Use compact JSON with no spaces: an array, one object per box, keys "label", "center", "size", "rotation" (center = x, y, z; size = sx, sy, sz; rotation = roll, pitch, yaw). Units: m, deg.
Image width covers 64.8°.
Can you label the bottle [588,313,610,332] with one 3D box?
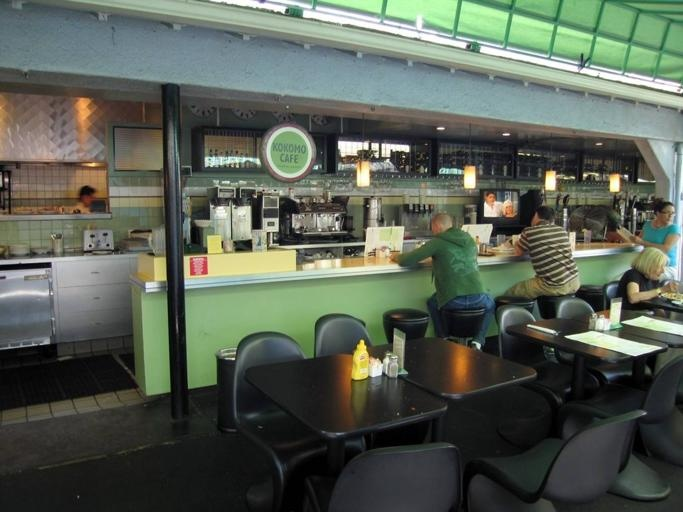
[{"label":"bottle","center":[2.300,0.598,4.816],"size":[0.185,0.188,0.121],"rotation":[-2,4,15]}]

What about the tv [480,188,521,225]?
[{"label":"tv","center":[3.399,-1.083,11.704],"size":[0.997,0.823,0.502],"rotation":[-2,5,-21]}]

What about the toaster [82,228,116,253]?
[{"label":"toaster","center":[-3.496,-0.219,7.735],"size":[0.350,0.268,0.356],"rotation":[-1,2,-28]}]

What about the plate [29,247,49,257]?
[{"label":"plate","center":[-4.213,-0.059,7.510],"size":[0.247,0.086,0.243],"rotation":[0,5,-28]}]

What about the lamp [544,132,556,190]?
[{"label":"lamp","center":[3.577,-1.484,9.249],"size":[0.177,0.705,0.180],"rotation":[-5,12,-7]}]

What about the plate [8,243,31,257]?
[{"label":"plate","center":[-4.362,-0.080,7.259],"size":[0.188,0.136,0.191],"rotation":[7,6,32]}]

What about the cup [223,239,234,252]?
[{"label":"cup","center":[-1.188,-0.099,5.680],"size":[0.119,0.130,0.117],"rotation":[1,1,0]}]

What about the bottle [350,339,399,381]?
[{"label":"bottle","center":[0.241,0.783,4.014],"size":[0.277,0.225,0.108],"rotation":[-2,7,-21]}]

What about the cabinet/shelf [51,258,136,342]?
[{"label":"cabinet/shelf","center":[-3.537,0.583,7.493],"size":[0.696,1.120,1.200],"rotation":[-6,-4,43]}]

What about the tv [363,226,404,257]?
[{"label":"tv","center":[0.516,-0.213,6.687],"size":[0.567,0.387,0.335],"rotation":[-1,10,-17]}]

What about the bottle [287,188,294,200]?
[{"label":"bottle","center":[-0.800,-0.978,8.454],"size":[0.063,0.178,0.201],"rotation":[-4,15,-14]}]
